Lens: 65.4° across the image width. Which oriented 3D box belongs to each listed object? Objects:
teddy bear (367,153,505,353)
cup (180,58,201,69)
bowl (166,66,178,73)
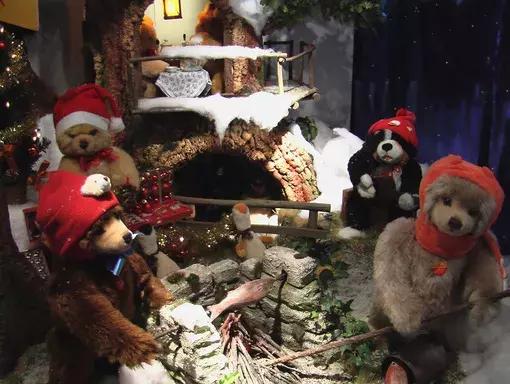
[{"bbox_3d":[1.444,0.552,3.159,0.982,1.673,0.448,2,19,14],"label":"teddy bear"},{"bbox_3d":[-0.822,-1.606,4.980,0.207,0.115,0.140,1,7,-11],"label":"cup"},{"bbox_3d":[-1.047,-1.544,5.009,0.146,0.075,0.112,-4,16,-9],"label":"bowl"}]
